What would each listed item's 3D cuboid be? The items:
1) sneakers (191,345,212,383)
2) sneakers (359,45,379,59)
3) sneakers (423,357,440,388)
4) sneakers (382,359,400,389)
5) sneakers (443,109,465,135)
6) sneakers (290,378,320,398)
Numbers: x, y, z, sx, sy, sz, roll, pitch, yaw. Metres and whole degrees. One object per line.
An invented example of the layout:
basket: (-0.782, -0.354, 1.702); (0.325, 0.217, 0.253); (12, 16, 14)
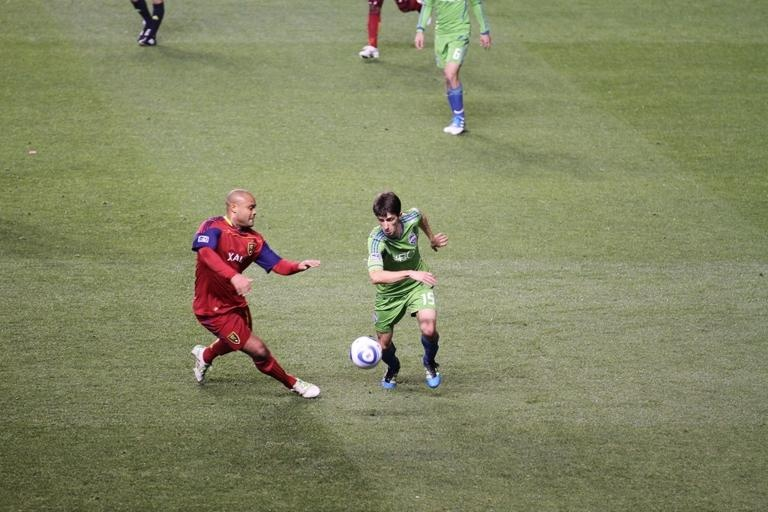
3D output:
sneakers: (-2.308, 1.334, 13.391); (0.190, 0.489, 0.268); (-12, 12, -42)
sneakers: (-0.277, -3.812, 20.334); (0.227, 0.201, 0.298); (-7, 15, -35)
sneakers: (0.595, 1.446, 13.501); (0.171, 0.162, 0.368); (-10, 72, -2)
sneakers: (0.080, 1.496, 13.539); (0.165, 0.409, 0.183); (9, 6, -2)
sneakers: (1.193, -2.236, 18.244); (0.239, 0.208, 0.472); (3, 32, 15)
sneakers: (-1.001, 1.633, 13.317); (0.352, 0.145, 0.185); (15, 68, 19)
